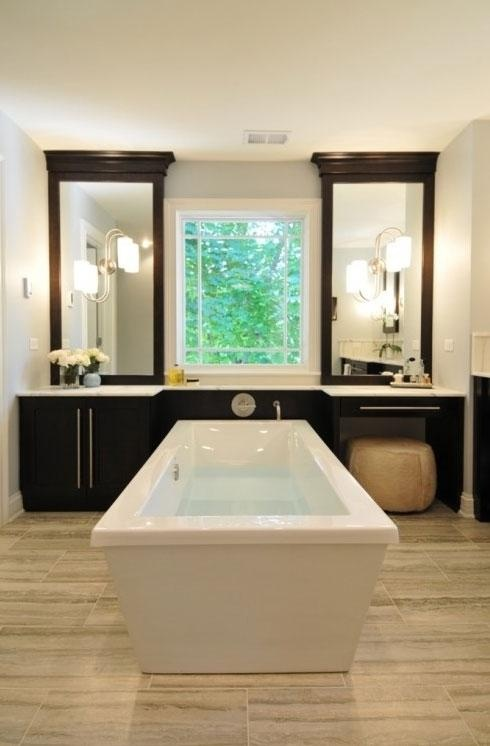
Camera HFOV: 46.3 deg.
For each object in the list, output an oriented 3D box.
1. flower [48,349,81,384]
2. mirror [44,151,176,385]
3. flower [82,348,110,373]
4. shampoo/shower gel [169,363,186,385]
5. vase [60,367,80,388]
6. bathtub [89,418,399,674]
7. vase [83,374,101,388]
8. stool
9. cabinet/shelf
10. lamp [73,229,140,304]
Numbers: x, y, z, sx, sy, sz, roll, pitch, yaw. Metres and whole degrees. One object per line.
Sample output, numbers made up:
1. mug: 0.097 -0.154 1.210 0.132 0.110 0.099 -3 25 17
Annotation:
1. flower: -1.093 -0.051 3.524 0.213 0.256 0.239 -1 3 -17
2. mirror: -0.911 -0.635 3.835 0.761 1.611 0.173 -1 10 -13
3. flower: -0.945 -0.078 3.631 0.151 0.158 0.270 -1 4 -15
4. shampoo/shower gel: -0.455 0.004 3.741 0.118 0.182 0.119 -1 5 -21
5. vase: -1.078 0.021 3.521 0.119 0.141 0.117 -1 4 -21
6. bathtub: -0.042 0.576 2.224 0.598 0.347 1.268 -1 3 -3
7. vase: -0.954 0.048 3.579 0.083 0.075 0.088 5 0 7
8. stool: 0.942 0.570 3.490 0.514 0.384 0.537 -7 13 0
9. cabinet/shelf: -0.943 0.419 3.482 0.705 0.724 0.423 1 12 -12
10. lamp: -0.911 -0.692 3.787 0.294 0.525 0.414 -8 -16 24
